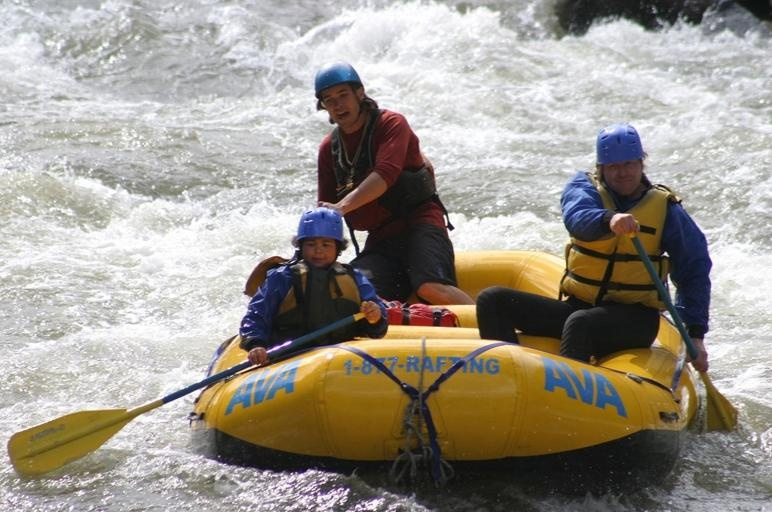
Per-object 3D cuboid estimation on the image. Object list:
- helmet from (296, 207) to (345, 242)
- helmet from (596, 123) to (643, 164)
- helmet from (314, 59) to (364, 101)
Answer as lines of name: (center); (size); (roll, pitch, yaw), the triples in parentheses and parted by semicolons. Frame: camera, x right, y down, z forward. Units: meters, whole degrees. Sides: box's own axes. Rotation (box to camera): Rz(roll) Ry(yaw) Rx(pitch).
helmet: (-0.572, -0.280, 9.351); (0.353, 0.195, 0.392); (2, -11, -2)
helmet: (1.988, -0.939, 9.263); (0.377, 0.273, 0.424); (-3, -17, 9)
helmet: (-0.401, -1.648, 10.047); (0.333, 0.177, 0.455); (-9, -3, 43)
